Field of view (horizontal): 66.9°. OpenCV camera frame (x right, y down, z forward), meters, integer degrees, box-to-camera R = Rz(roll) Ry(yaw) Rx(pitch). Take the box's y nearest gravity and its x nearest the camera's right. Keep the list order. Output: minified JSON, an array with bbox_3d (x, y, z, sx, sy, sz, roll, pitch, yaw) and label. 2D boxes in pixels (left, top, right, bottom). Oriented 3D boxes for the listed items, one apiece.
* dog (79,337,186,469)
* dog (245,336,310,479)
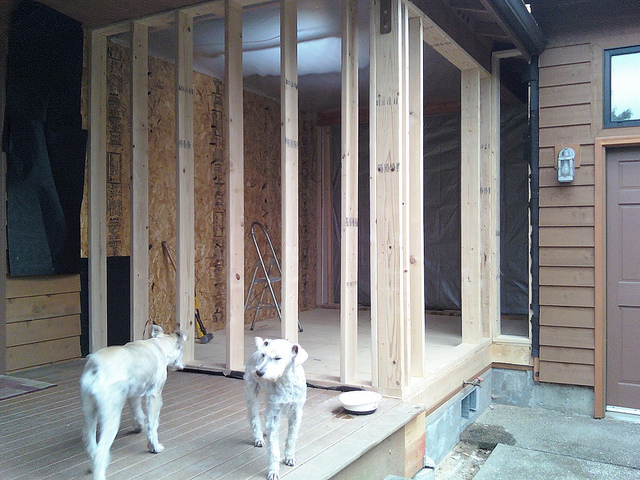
[{"bbox_3d":[-1.161,0.979,3.024,0.329,0.678,1.125,-1,-4,9],"label":"dog"},{"bbox_3d":[-0.279,0.960,3.043,0.388,0.572,0.889,-3,2,-8],"label":"dog"}]
